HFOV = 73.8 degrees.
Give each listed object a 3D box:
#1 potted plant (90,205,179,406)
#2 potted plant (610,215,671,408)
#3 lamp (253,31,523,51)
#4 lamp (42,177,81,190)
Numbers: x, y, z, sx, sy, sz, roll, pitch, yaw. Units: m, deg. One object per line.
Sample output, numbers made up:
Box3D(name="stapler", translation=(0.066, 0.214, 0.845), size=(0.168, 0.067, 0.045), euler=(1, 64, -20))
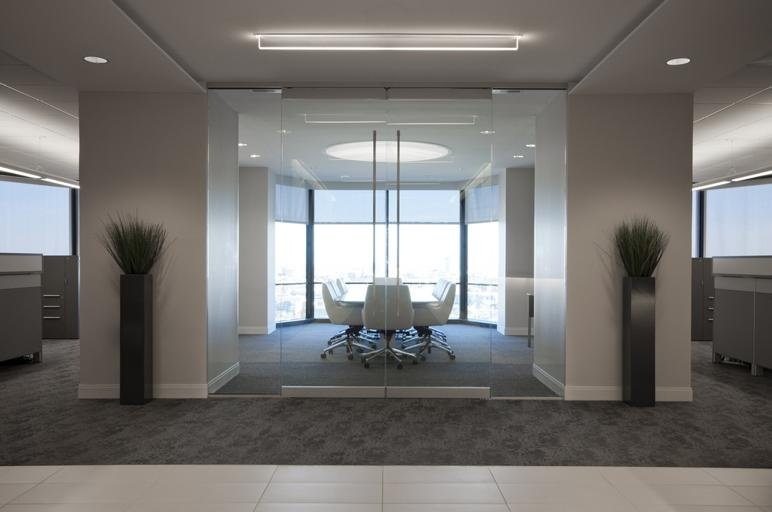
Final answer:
Box3D(name="potted plant", translation=(-2.985, 0.634, 6.148), size=(0.741, 2.155, 0.709), euler=(-2, 11, -12))
Box3D(name="potted plant", translation=(3.017, 0.658, 6.142), size=(0.603, 2.143, 0.695), euler=(2, 11, 11))
Box3D(name="lamp", translation=(0.020, -2.260, 5.413), size=(2.781, 0.126, 0.267), euler=(0, 11, 2))
Box3D(name="lamp", translation=(-7.087, -1.578, 11.194), size=(0.671, 0.321, 1.212), euler=(-7, 13, -33))
